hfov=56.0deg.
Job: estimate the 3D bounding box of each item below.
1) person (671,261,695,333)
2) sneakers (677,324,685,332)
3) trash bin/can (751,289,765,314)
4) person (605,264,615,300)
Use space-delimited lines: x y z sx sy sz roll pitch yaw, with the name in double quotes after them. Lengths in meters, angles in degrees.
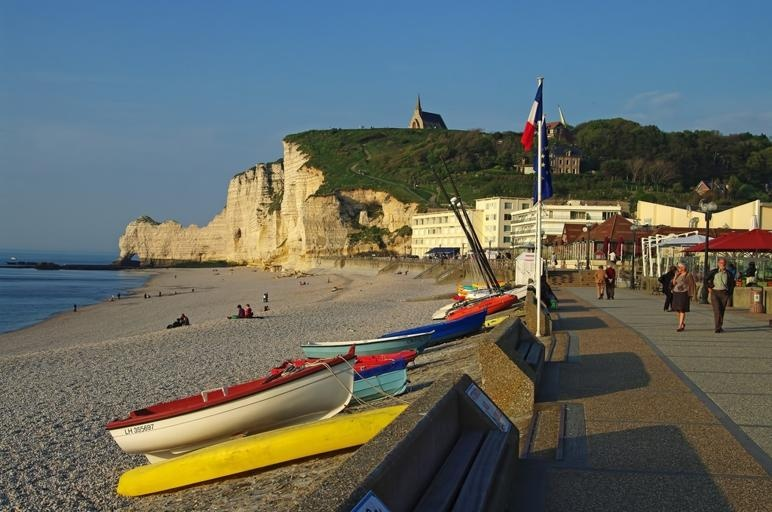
8.805 1.180 21.585 0.613 1.948 0.671 1 1 -42 "person"
8.796 2.171 21.602 0.116 0.156 0.412 -7 -13 29 "sneakers"
12.773 1.544 24.783 0.645 0.827 0.271 -4 2 -24 "trash bin/can"
9.881 1.177 32.004 0.382 1.418 1.021 -2 2 15 "person"
